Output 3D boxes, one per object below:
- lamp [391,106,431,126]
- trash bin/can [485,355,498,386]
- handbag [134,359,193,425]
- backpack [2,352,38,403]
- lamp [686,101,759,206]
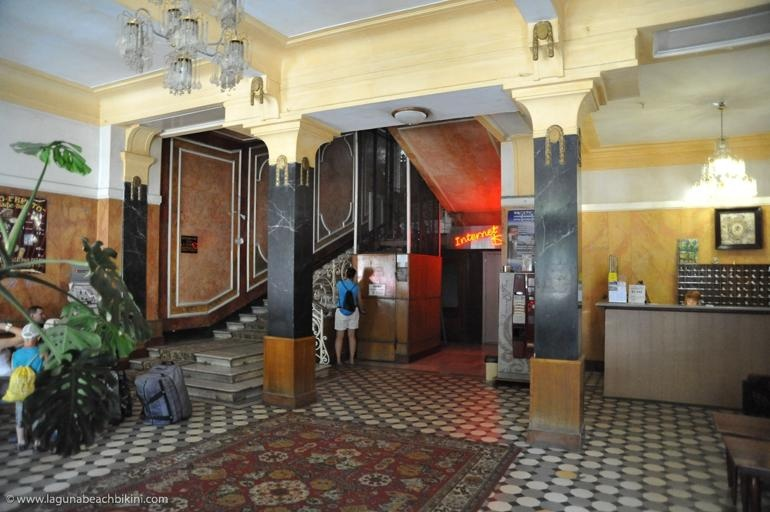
[{"bbox_3d":[0.397,-2.126,7.682,0.580,0.167,0.551,1,8,3],"label":"lamp"},{"bbox_3d":[1.938,2.091,9.334,0.200,0.402,0.425,2,8,10],"label":"trash bin/can"},{"bbox_3d":[-3.195,1.998,7.366,0.601,0.759,0.702,-7,8,10],"label":"handbag"},{"bbox_3d":[-3.391,1.193,4.723,0.246,0.384,0.254,-5,9,-36],"label":"backpack"},{"bbox_3d":[6.186,-1.932,9.322,1.098,1.592,1.072,-13,17,2],"label":"lamp"}]
